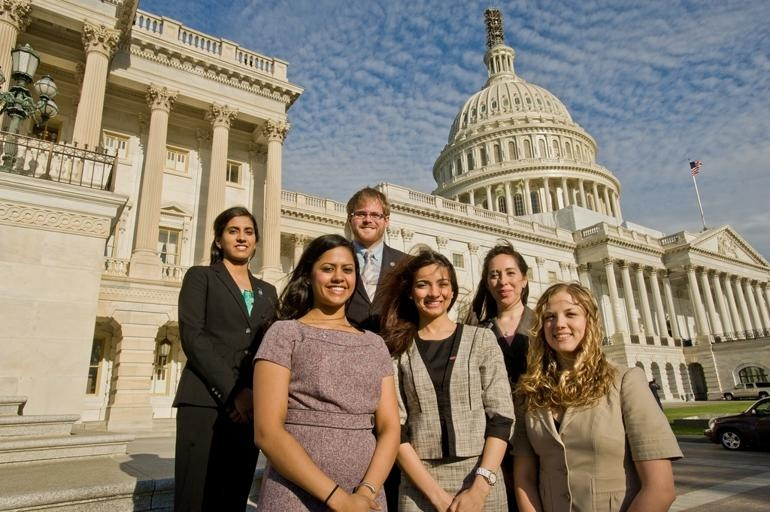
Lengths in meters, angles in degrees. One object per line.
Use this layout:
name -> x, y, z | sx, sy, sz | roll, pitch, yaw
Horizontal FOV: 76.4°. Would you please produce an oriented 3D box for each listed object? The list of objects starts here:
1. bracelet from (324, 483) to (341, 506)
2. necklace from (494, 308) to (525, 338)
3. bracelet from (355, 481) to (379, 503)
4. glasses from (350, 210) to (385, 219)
bracelet -> -0.543, 2.379, 4.921 | 0.183, 0.044, 0.167 | -20, -25, -54
necklace -> 1.805, 0.951, 7.047 | 0.339, 0.450, 0.151 | -6, -52, 26
bracelet -> -0.189, 2.427, 5.125 | 0.199, 0.218, 0.085 | -8, 17, 47
glasses -> -0.262, -0.605, 7.191 | 0.460, 0.101, 0.108 | 1, -11, 1
